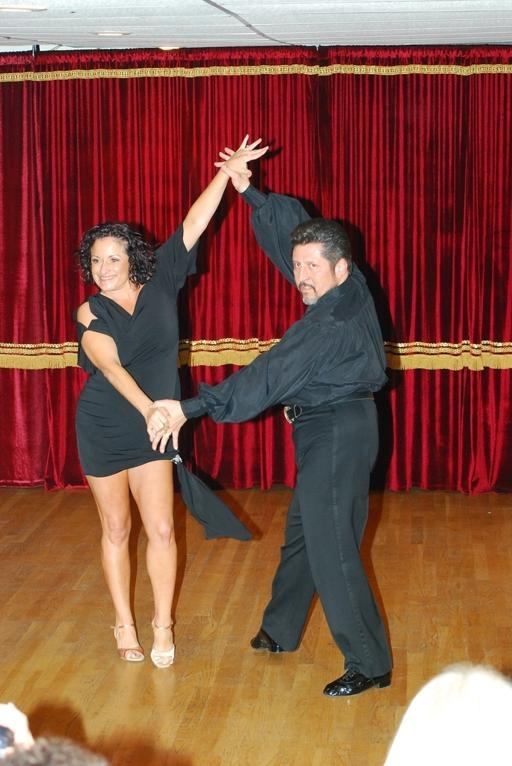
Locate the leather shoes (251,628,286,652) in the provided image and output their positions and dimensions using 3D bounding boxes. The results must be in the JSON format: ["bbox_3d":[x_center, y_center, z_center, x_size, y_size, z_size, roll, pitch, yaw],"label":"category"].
[{"bbox_3d":[0.039,1.087,2.737,0.150,0.073,0.071,22,15,31],"label":"leather shoes"}]
